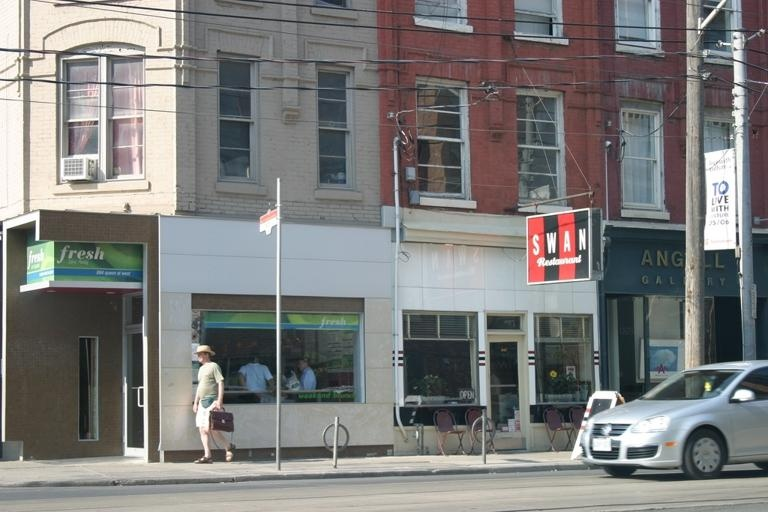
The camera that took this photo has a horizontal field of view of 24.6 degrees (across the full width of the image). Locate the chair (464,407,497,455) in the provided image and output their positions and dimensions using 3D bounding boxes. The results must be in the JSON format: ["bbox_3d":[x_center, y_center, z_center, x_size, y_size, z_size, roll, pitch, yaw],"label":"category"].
[{"bbox_3d":[2.394,4.346,42.988,0.808,1.315,0.990,2,-10,-15],"label":"chair"}]

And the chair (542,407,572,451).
[{"bbox_3d":[4.346,4.291,43.982,0.751,1.103,0.439,-1,-6,-8],"label":"chair"}]

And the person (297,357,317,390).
[{"bbox_3d":[-1.902,2.863,42.318,0.485,0.810,0.872,-3,11,-10],"label":"person"}]

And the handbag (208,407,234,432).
[{"bbox_3d":[-3.777,3.751,40.196,0.605,0.421,0.207,6,-18,-28],"label":"handbag"}]

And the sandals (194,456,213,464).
[{"bbox_3d":[-4.161,4.677,40.399,0.452,0.166,0.158,3,-3,4],"label":"sandals"}]

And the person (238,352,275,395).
[{"bbox_3d":[-3.094,2.803,41.625,1.025,1.252,0.549,-1,-3,8],"label":"person"}]

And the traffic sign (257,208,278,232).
[{"bbox_3d":[-2.714,-0.782,40.380,0.041,0.402,0.571,8,-13,-25],"label":"traffic sign"}]

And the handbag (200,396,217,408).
[{"bbox_3d":[-4.067,3.357,40.422,0.300,0.156,0.216,-20,-5,-11],"label":"handbag"}]

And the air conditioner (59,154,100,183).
[{"bbox_3d":[-7.191,-2.047,41.350,0.841,0.617,0.327,0,-7,-11],"label":"air conditioner"}]

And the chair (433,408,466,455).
[{"bbox_3d":[1.606,4.259,42.839,0.835,1.092,0.489,2,-8,-31],"label":"chair"}]
